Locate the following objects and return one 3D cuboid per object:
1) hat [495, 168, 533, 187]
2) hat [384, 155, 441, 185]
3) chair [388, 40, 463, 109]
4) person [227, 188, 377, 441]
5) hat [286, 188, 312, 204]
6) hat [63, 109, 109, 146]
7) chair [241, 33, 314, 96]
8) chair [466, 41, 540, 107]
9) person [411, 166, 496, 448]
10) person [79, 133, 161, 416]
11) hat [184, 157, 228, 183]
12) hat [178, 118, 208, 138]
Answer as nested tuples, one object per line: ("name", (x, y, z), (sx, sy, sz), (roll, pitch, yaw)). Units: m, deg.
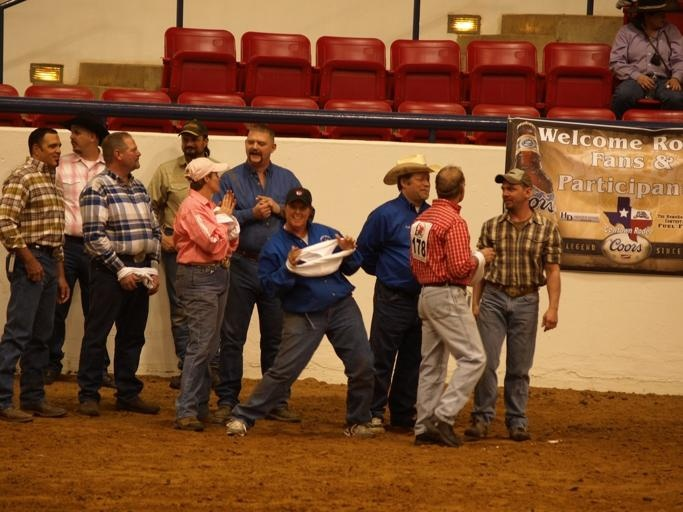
("hat", (1.627, -0.716, 10.059), (0.268, 0.107, 0.171), (8, -3, -39))
("hat", (0.609, -0.822, 10.290), (0.324, 0.156, 0.370), (2, -20, -44))
("chair", (1.118, -2.526, 14.503), (0.885, 1.349, 1.063), (0, -6, 0))
("person", (-0.304, 0.537, 9.904), (1.267, 2.301, 0.622), (2, 12, 1))
("hat", (-0.389, -0.546, 9.808), (0.225, 0.155, 0.168), (1, 12, -5))
("hat", (-2.571, -1.309, 10.885), (0.364, 0.160, 0.419), (-6, -29, 44))
("chair", (-0.882, -2.580, 14.317), (0.988, 1.277, 1.018), (1, -6, -6))
("chair", (2.163, -2.508, 14.500), (0.908, 1.383, 1.100), (0, -5, 4))
("person", (0.974, 0.453, 9.835), (0.765, 2.491, 0.627), (5, 12, 14))
("person", (-2.144, 0.191, 10.289), (0.773, 2.697, 0.600), (-1, 12, -12))
("hat", (-1.272, -0.814, 10.053), (0.319, 0.149, 0.215), (-15, 23, -16))
("hat", (-1.507, -1.290, 10.897), (0.243, 0.169, 0.214), (3, 12, 2))
